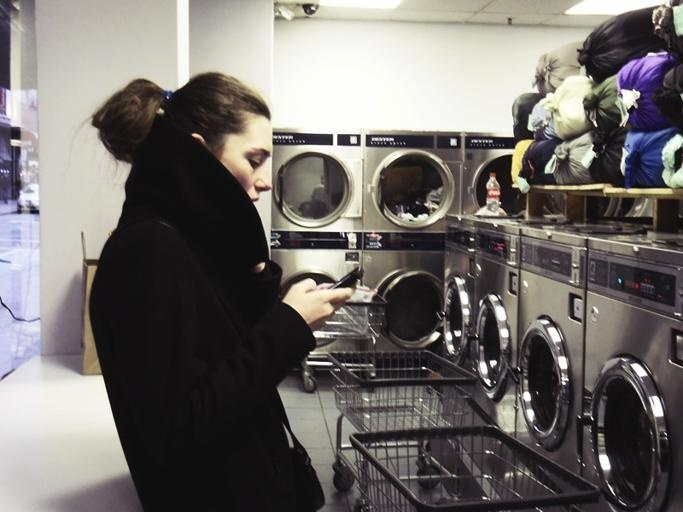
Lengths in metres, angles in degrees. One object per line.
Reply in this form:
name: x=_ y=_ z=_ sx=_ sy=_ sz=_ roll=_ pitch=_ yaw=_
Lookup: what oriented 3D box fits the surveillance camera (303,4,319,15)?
surveillance camera: x=-0.297 y=-2.265 z=4.854 sx=0.119 sy=0.066 sz=0.302 roll=2 pitch=11 yaw=-8
